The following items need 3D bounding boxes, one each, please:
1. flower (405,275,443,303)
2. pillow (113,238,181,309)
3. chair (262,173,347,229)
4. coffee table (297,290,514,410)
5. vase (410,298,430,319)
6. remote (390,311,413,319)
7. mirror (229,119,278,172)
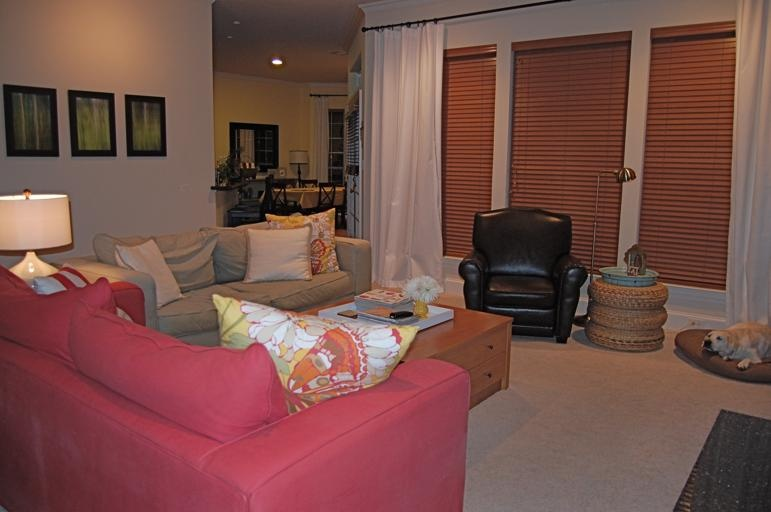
[{"bbox_3d":[0.272,0.231,3.928,0.211,0.151,0.204,-4,5,-24],"label":"flower"},{"bbox_3d":[-1.727,0.137,3.906,0.252,0.408,0.458,-6,7,11],"label":"pillow"},{"bbox_3d":[-1.486,-1.103,10.374,1.326,0.698,1.446,-4,8,-40],"label":"chair"},{"bbox_3d":[0.303,0.519,3.945,0.936,0.450,0.951,6,13,33],"label":"coffee table"},{"bbox_3d":[0.251,0.379,3.933,0.103,0.135,0.049,3,-16,1],"label":"vase"},{"bbox_3d":[0.106,0.398,3.804,0.173,0.052,0.053,3,32,-33],"label":"remote"},{"bbox_3d":[-2.855,-2.353,11.839,0.271,1.033,1.140,8,13,41],"label":"mirror"}]
